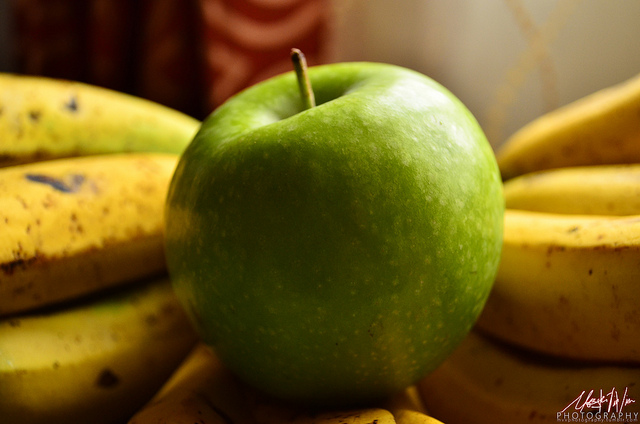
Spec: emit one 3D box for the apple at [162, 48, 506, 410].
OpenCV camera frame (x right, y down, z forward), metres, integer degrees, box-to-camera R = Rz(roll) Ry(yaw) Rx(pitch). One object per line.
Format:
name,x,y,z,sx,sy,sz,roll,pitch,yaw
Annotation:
apple,0.022,0.036,0.942,0.446,0.490,0.469,-9,23,9

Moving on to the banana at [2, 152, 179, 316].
banana,-0.313,0.011,0.841,0.260,0.093,0.168,-13,62,-17
